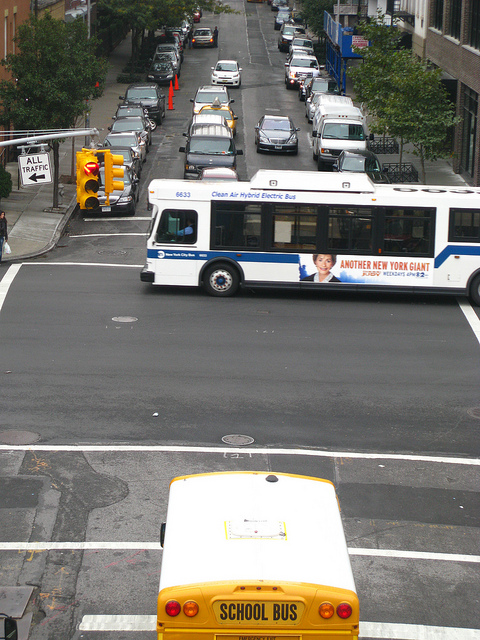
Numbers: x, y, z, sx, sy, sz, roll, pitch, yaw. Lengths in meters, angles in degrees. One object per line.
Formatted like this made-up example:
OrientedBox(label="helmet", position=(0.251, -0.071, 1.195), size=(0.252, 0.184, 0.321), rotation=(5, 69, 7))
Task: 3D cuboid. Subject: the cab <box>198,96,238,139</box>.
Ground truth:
OrientedBox(label="cab", position=(-0.919, -8.900, 39.453), size=(1.511, 1.649, 3.000), rotation=(1, 13, -1))
